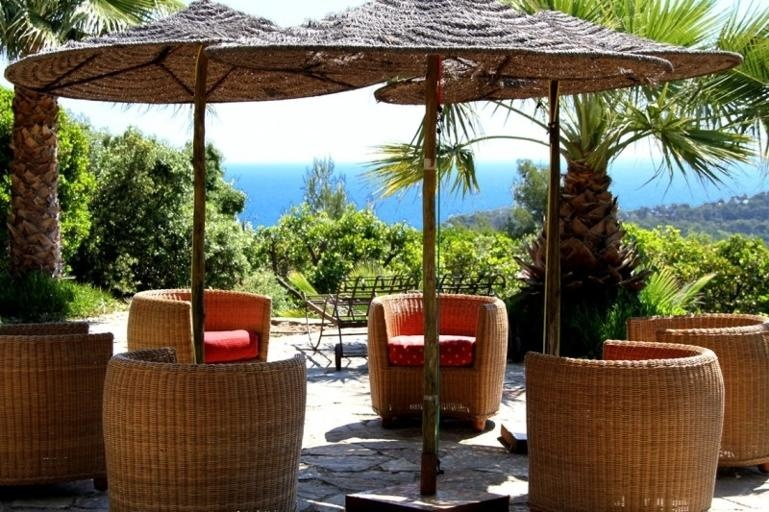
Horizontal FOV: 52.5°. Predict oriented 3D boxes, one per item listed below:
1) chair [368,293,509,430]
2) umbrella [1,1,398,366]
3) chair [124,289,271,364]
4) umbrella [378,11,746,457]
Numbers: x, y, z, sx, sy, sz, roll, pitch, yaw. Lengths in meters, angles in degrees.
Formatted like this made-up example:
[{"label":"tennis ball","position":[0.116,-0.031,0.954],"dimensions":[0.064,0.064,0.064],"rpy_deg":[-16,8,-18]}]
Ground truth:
[{"label":"chair","position":[0.509,0.989,7.727],"dimensions":[1.146,1.214,1.246],"rpy_deg":[0,-10,5]},{"label":"umbrella","position":[-1.596,-0.831,7.163],"dimensions":[2.727,2.996,3.003],"rpy_deg":[0,0,6]},{"label":"chair","position":[-1.853,0.690,7.680],"dimensions":[0.938,0.899,0.919],"rpy_deg":[7,-11,-43]},{"label":"umbrella","position":[1.316,-0.382,6.806],"dimensions":[2.830,3.480,2.987],"rpy_deg":[-2,-1,-1]}]
